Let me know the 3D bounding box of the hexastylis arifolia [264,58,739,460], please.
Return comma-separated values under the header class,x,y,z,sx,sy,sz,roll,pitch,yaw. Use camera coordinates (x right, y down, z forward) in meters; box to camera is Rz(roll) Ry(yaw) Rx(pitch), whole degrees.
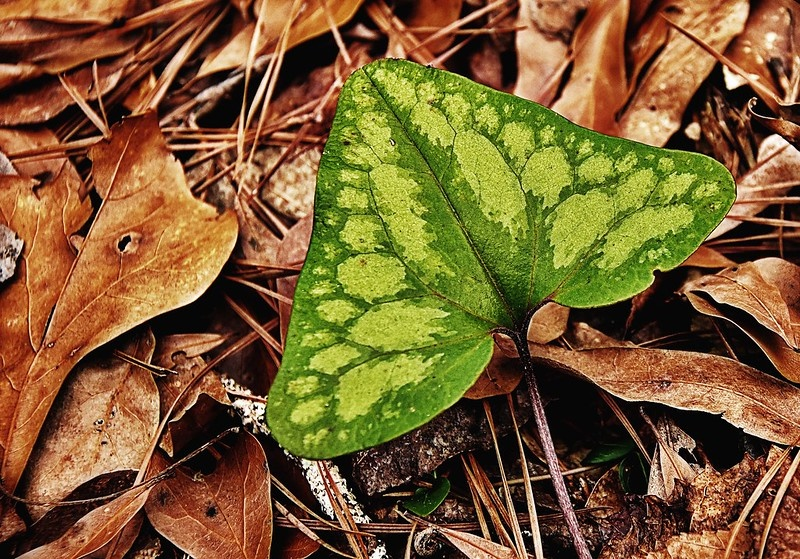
class,x,y,z,sx,sy,sz,roll,pitch,yaw
hexastylis arifolia,0.278,-0.006,1.632,0.977,0.234,0.960,11,58,5
